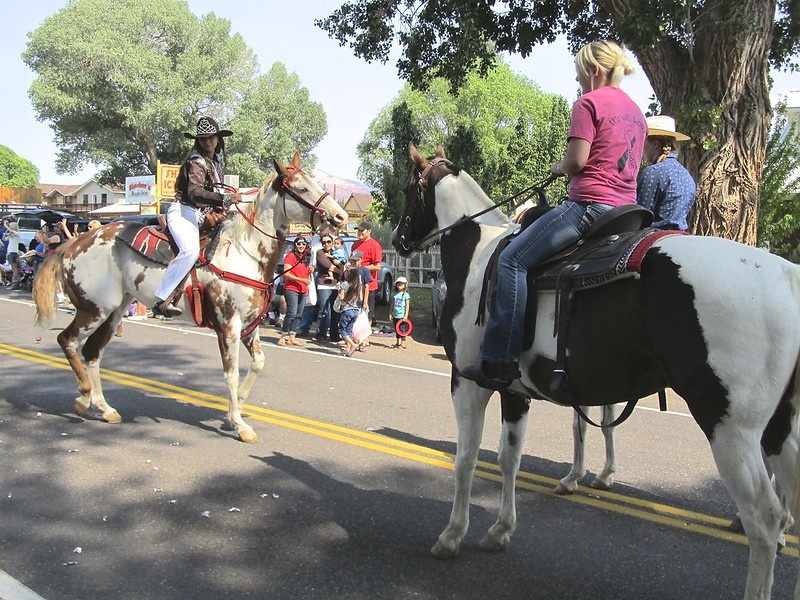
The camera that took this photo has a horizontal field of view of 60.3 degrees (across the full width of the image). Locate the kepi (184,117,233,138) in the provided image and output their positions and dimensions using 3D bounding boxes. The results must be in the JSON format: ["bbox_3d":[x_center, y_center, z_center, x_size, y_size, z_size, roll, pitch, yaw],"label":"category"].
[{"bbox_3d":[-2.186,-1.935,8.029,0.412,0.214,0.517,-2,5,4],"label":"kepi"}]

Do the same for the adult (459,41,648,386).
[{"bbox_3d":[1.316,-0.659,5.484,1.192,2.630,0.832,2,-3,44],"label":"adult"}]

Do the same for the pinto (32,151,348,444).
[{"bbox_3d":[-2.616,0.018,8.378,3.800,3.464,1.062,3,7,3],"label":"pinto"}]

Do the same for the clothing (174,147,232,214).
[{"bbox_3d":[-2.284,-1.348,8.036,0.515,0.557,0.817,3,7,-3],"label":"clothing"}]

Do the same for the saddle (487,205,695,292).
[{"bbox_3d":[1.401,-0.327,4.952,0.845,0.391,0.644,-10,0,39],"label":"saddle"}]

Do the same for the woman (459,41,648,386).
[{"bbox_3d":[1.321,-0.665,5.478,1.196,2.670,0.848,2,-4,43],"label":"woman"}]

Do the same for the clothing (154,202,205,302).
[{"bbox_3d":[-2.565,-0.547,7.991,0.492,1.121,0.452,-1,8,-17],"label":"clothing"}]

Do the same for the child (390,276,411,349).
[{"bbox_3d":[-0.010,0.308,14.631,0.423,1.550,0.419,1,-2,43],"label":"child"}]

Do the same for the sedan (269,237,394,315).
[{"bbox_3d":[-0.948,-0.679,19.985,1.400,1.536,3.142,5,13,35],"label":"sedan"}]

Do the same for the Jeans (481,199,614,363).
[{"bbox_3d":[1.130,-0.041,5.244,0.533,1.290,0.875,2,-7,23],"label":"Jeans"}]

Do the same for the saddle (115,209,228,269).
[{"bbox_3d":[-2.818,-0.762,8.442,1.254,0.572,0.912,7,21,-7],"label":"saddle"}]
